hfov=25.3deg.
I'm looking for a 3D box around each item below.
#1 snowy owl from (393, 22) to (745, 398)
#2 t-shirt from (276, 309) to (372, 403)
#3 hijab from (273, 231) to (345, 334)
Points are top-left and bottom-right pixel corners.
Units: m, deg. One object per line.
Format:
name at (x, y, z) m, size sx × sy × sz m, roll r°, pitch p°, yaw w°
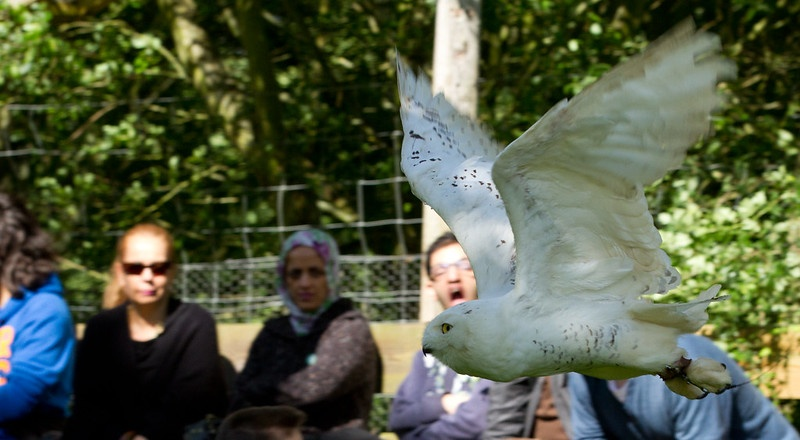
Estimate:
snowy owl at (1.753, 0.149, 15.558) m, size 3.403 × 3.084 × 4.492 m, roll -5°, pitch -6°, yaw -24°
t-shirt at (-0.694, 1.123, 14.616) m, size 0.584 × 0.716 × 0.696 m, roll -8°, pitch 0°, yaw 39°
hijab at (-0.818, 0.627, 14.875) m, size 0.690 × 0.861 × 0.935 m, roll -1°, pitch -31°, yaw -16°
